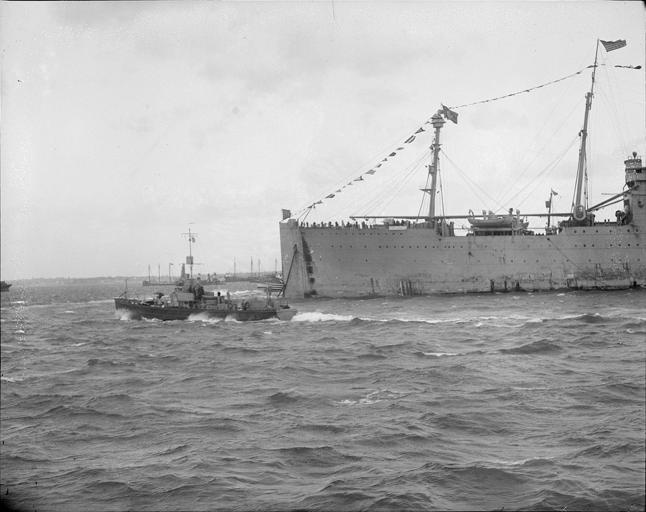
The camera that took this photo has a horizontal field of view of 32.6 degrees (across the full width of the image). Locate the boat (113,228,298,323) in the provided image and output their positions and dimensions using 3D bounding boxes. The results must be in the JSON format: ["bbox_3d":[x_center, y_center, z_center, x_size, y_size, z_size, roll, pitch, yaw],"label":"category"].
[{"bbox_3d":[-5.612,1.250,53.469,8.832,4.088,2.745,1,9,-3],"label":"boat"}]
